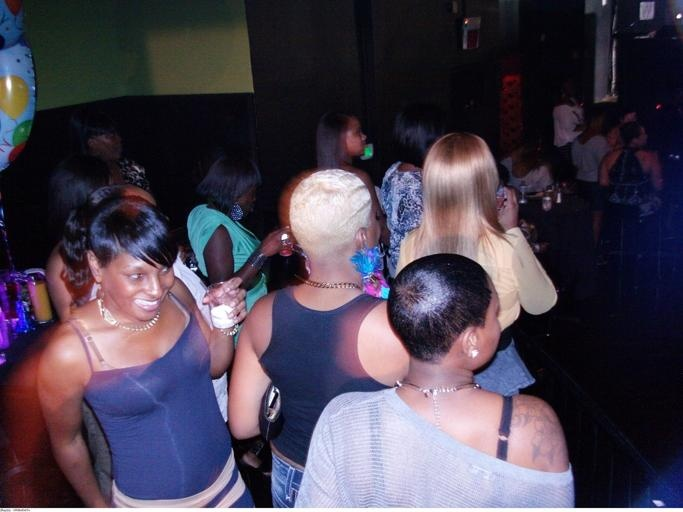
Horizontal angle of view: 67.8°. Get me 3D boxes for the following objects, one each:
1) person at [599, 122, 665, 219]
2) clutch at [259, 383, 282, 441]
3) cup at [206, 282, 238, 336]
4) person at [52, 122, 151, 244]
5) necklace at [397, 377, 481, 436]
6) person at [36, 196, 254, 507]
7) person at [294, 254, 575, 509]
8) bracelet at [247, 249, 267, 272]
[{"bbox_3d":[3.579,-1.079,6.249,0.585,1.125,0.642,-19,18,-36],"label":"person"},{"bbox_3d":[-0.306,0.640,2.118,0.102,0.091,0.273,20,19,-15],"label":"clutch"},{"bbox_3d":[-0.516,0.258,2.246,0.119,0.098,0.127,-4,25,2],"label":"cup"},{"bbox_3d":[-1.459,-0.413,3.125,0.404,0.808,0.574,-10,-4,16],"label":"person"},{"bbox_3d":[0.296,0.456,1.617,0.165,0.053,0.158,-5,50,5],"label":"necklace"},{"bbox_3d":[-0.779,0.475,2.092,0.839,1.417,0.357,-13,14,-23],"label":"person"},{"bbox_3d":[0.286,0.414,1.685,0.860,0.758,0.390,-3,14,19],"label":"person"},{"bbox_3d":[-0.501,0.028,3.085,0.127,0.094,0.042,-46,-14,24],"label":"bracelet"}]
